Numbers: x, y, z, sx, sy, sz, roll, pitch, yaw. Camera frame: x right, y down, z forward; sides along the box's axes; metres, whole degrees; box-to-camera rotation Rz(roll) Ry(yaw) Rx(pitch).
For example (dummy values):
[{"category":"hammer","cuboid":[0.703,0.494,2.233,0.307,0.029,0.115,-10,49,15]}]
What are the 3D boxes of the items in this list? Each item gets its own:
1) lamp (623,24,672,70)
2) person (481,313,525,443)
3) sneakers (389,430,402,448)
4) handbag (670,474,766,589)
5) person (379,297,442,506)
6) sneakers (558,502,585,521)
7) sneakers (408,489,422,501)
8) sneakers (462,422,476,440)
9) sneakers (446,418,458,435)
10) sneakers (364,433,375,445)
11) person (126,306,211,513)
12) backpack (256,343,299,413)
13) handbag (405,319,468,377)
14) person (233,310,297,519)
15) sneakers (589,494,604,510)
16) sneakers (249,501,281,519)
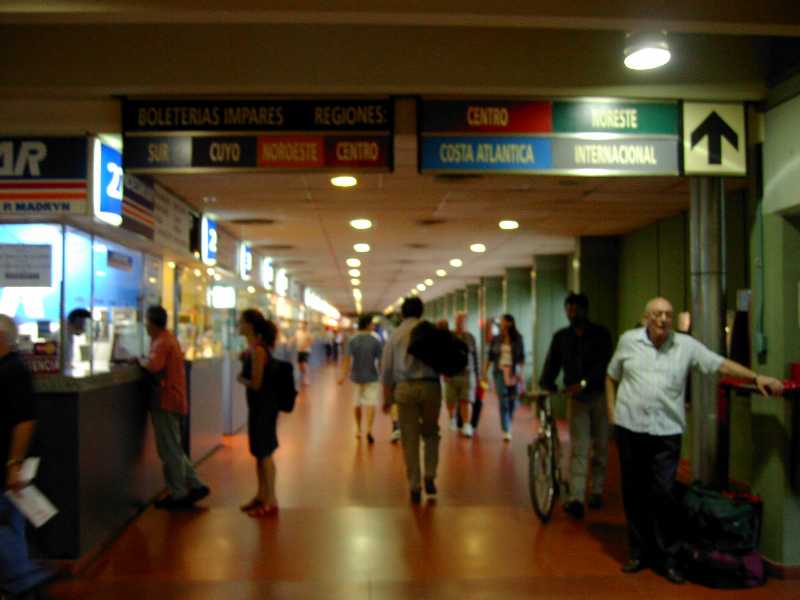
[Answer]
[{"category":"lamp","cuboid":[1.942,-1.951,5.863,0.279,0.257,0.310,2,-30,11]},{"category":"person","cuboid":[1.557,1.137,10.918,0.498,1.844,0.708,1,1,4]},{"category":"sneakers","cuboid":[-0.062,1.945,10.397,0.174,0.246,0.598,3,-7,-2]},{"category":"handbag","cuboid":[2.685,1.957,6.194,0.641,0.733,0.576,-3,-1,15]},{"category":"person","cuboid":[0.243,1.024,7.796,0.822,2.101,0.698,11,-21,-34]},{"category":"sneakers","cuboid":[1.726,2.057,7.297,0.129,0.068,0.181,-7,28,3]},{"category":"sneakers","cuboid":[0.163,2.011,7.599,0.116,0.140,0.121,2,-1,-4]},{"category":"sneakers","cuboid":[1.026,1.944,10.988,0.162,0.213,0.477,0,-6,3]},{"category":"sneakers","cuboid":[0.823,1.955,11.585,0.182,0.192,0.116,-5,-7,38]},{"category":"sneakers","cuboid":[-0.431,1.986,10.575,0.136,0.191,0.423,2,1,0]},{"category":"person","cuboid":[-2.333,1.081,7.559,0.677,2.017,0.615,0,1,-19]},{"category":"backpack","cuboid":[-1.163,0.814,7.627,0.432,0.879,0.591,-4,-3,-1]},{"category":"handbag","cuboid":[0.443,0.487,7.613,0.420,0.183,0.572,24,-42,-23]},{"category":"person","cuboid":[-1.318,1.094,7.361,0.545,1.978,0.449,0,1,-14]},{"category":"sneakers","cuboid":[1.976,2.038,7.475,0.163,0.174,0.125,1,3,6]},{"category":"sneakers","cuboid":[-1.333,2.037,7.192,0.220,0.097,0.120,4,-7,-3]}]
